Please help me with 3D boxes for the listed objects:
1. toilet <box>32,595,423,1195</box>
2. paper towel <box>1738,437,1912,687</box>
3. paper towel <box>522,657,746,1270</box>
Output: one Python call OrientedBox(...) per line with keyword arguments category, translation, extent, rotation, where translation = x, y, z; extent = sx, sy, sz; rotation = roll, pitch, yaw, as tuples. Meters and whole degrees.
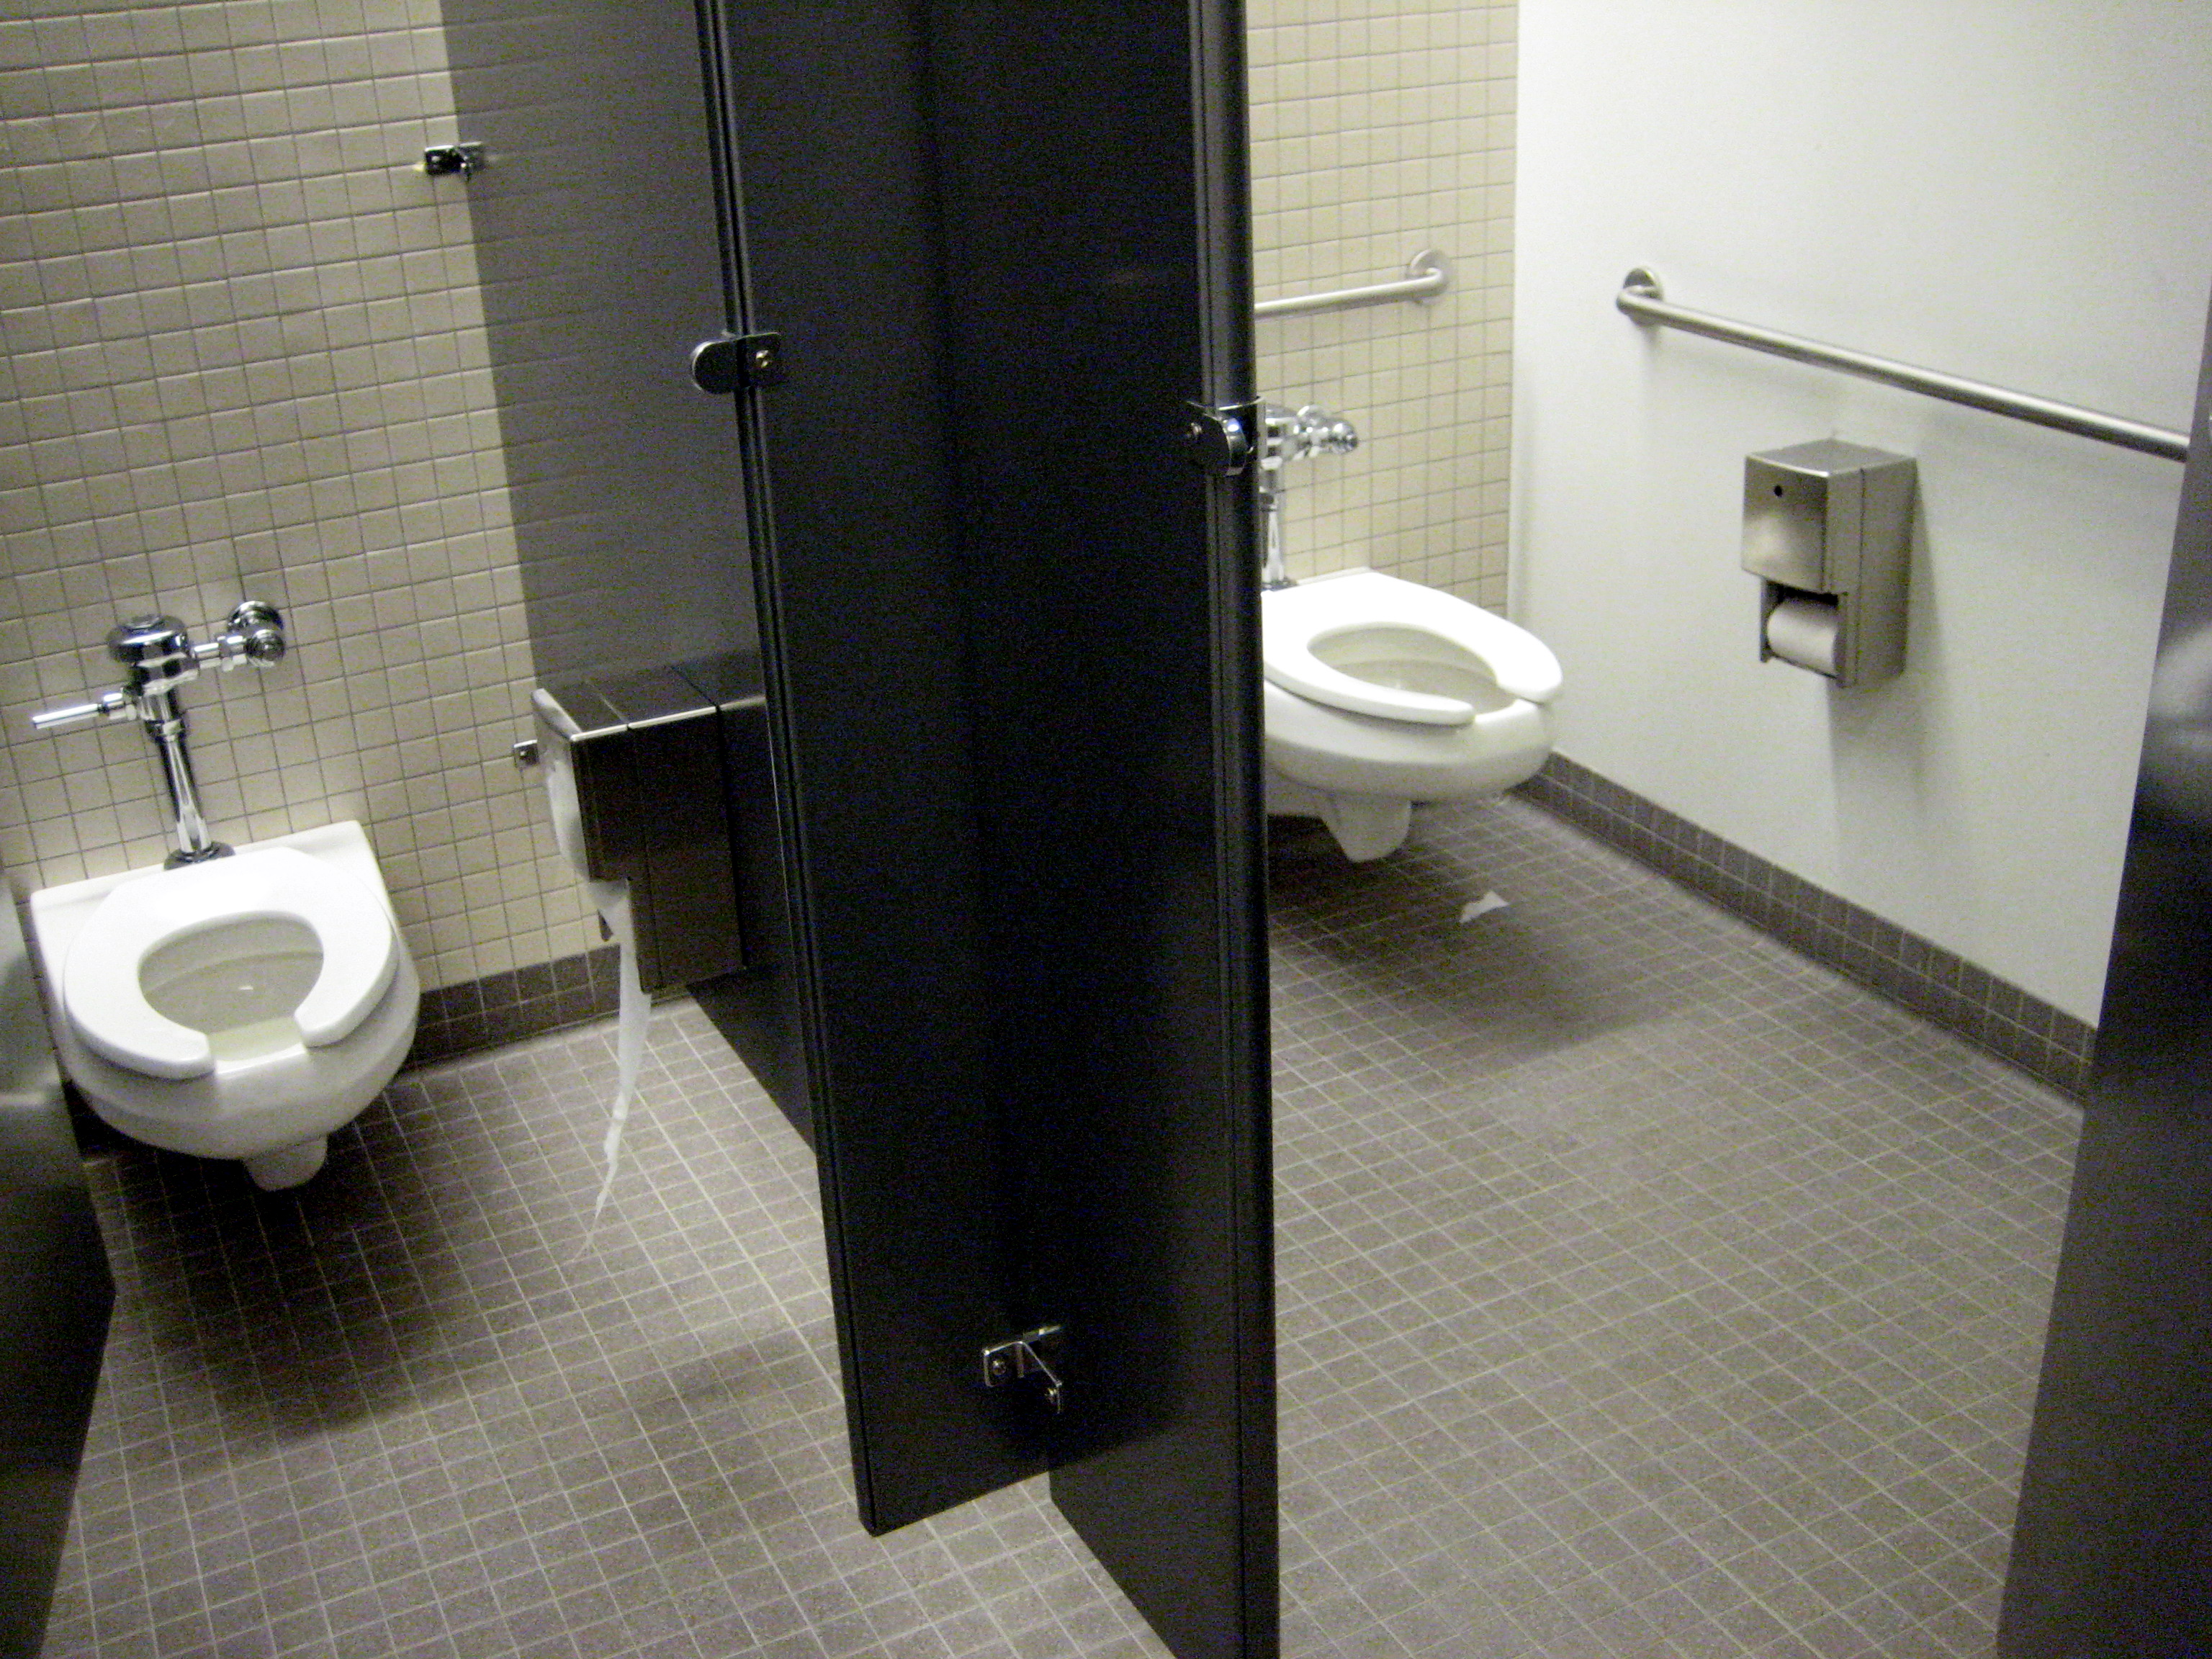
OrientedBox(category="toilet", translation=(-1.164, 0.055, 2.377), extent=(0.484, 0.667, 0.649), rotation=(-17, 48, -20))
OrientedBox(category="paper towel", translation=(0.522, -0.191, 1.326), extent=(0.098, 0.172, 0.138), rotation=(-5, 32, 0))
OrientedBox(category="paper towel", translation=(-0.607, 0.182, 2.332), extent=(0.334, 0.974, 0.198), rotation=(-15, 50, -22))
